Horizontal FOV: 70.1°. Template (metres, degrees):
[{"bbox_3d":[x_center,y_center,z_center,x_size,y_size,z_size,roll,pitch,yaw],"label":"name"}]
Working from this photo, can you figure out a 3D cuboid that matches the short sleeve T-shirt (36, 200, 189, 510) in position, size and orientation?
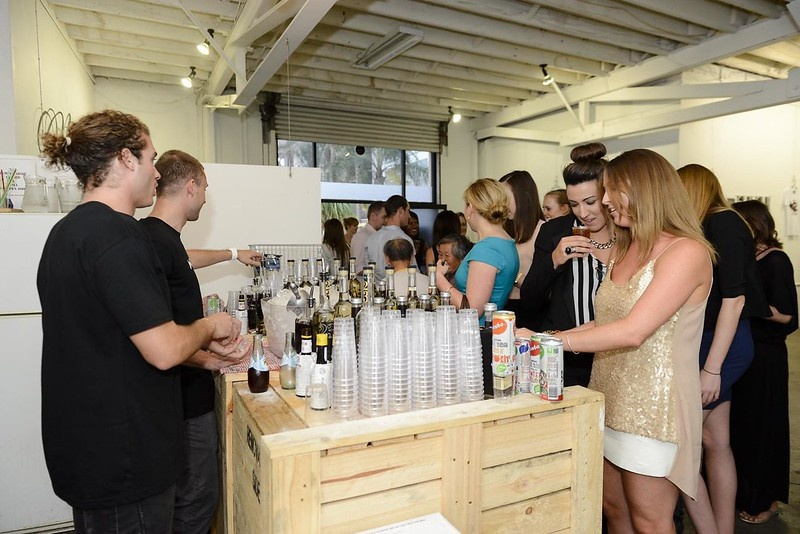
[{"bbox_3d":[-1.336,0.392,2.589,0.591,1.355,0.235,-6,7,-19],"label":"short sleeve T-shirt"}]

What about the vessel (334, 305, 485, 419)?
[{"bbox_3d":[0.041,0.445,2.581,0.464,0.318,0.156,0,5,-9],"label":"vessel"}]

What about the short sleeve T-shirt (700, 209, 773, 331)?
[{"bbox_3d":[1.977,0.004,3.320,0.488,0.685,0.212,-6,7,-22],"label":"short sleeve T-shirt"}]

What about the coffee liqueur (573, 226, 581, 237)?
[{"bbox_3d":[1.001,-0.203,3.238,0.051,0.052,0.049,7,12,35],"label":"coffee liqueur"}]

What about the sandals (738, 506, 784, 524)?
[{"bbox_3d":[2.425,1.648,3.818,0.277,0.106,0.104,2,-4,-13],"label":"sandals"}]

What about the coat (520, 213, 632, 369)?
[{"bbox_3d":[1.033,0.132,3.515,0.280,0.828,0.682,4,7,-30],"label":"coat"}]

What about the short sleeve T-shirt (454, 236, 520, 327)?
[{"bbox_3d":[0.573,-0.033,3.798,0.425,0.722,0.754,5,2,16],"label":"short sleeve T-shirt"}]
